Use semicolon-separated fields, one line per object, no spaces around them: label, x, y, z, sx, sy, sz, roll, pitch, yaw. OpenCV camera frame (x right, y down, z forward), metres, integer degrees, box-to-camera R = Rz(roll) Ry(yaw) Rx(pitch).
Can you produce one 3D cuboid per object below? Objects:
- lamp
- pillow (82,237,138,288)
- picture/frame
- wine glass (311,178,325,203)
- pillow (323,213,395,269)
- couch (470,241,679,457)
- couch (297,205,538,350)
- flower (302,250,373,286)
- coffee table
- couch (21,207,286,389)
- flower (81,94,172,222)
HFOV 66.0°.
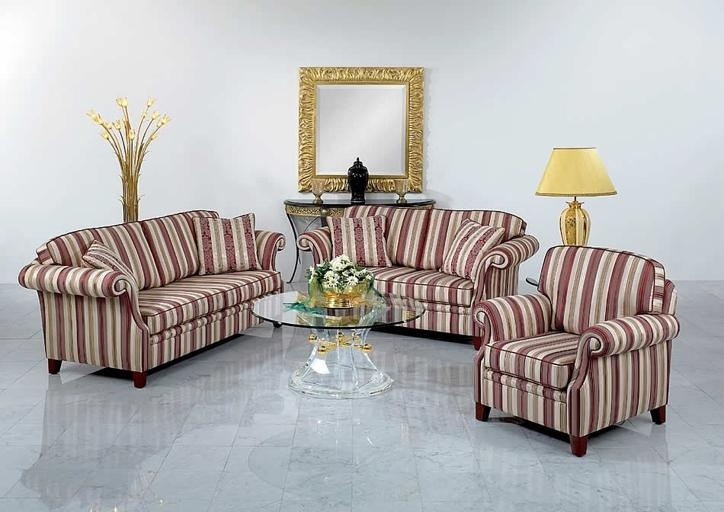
lamp;1.812;-0.406;4.671;0.612;0.709;0.607;1;-9;15
pillow;-1.845;0.055;4.150;0.394;0.114;0.374;31;4;11
picture/frame;-0.005;-1.618;6.868;1.697;1.556;0.077;1;4;1
wine glass;-0.510;-0.749;6.532;0.127;0.250;0.297;-1;13;-5
pillow;-0.029;-0.137;5.560;0.610;0.556;0.216;-3;-18;-3
couch;1.312;0.457;3.806;1.271;1.320;1.289;-4;6;-37
couch;0.501;0.109;5.403;2.157;1.014;0.864;4;16;29
flower;-0.150;0.118;3.924;0.471;0.247;0.183;-1;13;-5
coffee table;-0.171;0.635;4.070;1.218;0.628;0.978;1;12;5
couch;-1.645;0.233;4.950;1.019;1.033;2.413;5;9;18
flower;-2.433;-1.023;6.074;0.871;1.454;2.462;-6;14;-24
